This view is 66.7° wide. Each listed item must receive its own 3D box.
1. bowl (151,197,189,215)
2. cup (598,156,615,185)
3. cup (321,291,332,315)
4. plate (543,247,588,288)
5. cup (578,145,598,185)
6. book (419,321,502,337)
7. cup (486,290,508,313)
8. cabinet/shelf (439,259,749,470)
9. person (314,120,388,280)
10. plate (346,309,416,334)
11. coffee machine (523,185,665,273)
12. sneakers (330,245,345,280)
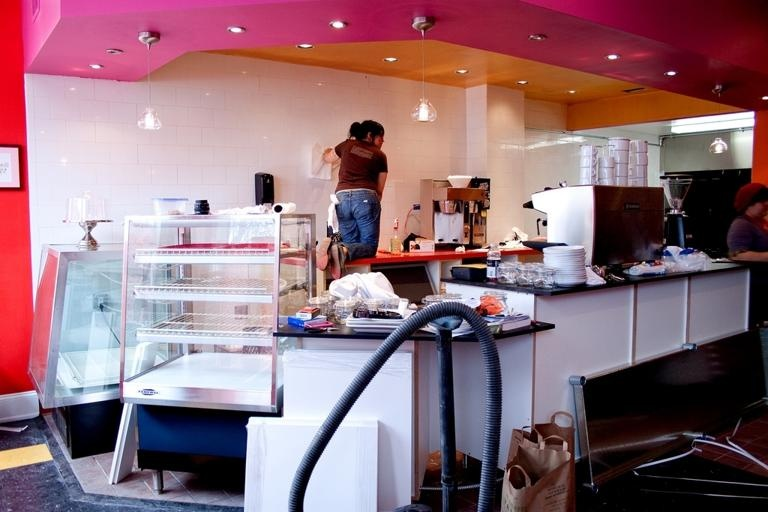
[{"bbox_3d":[-1.789,-0.402,4.800,0.295,0.113,0.244,-1,0,5],"label":"bowl"},{"bbox_3d":[2.053,-0.783,5.350,0.152,0.261,0.112,-1,2,2],"label":"cup"},{"bbox_3d":[-0.465,0.380,4.546,0.083,0.179,0.139,-2,2,-19],"label":"cup"},{"bbox_3d":[1.401,0.086,4.634,0.337,0.261,0.320,-2,4,1],"label":"plate"},{"bbox_3d":[1.852,-0.817,5.285,0.146,0.358,0.237,-1,2,23],"label":"cup"},{"bbox_3d":[0.599,0.519,4.093,0.370,0.078,0.331,-1,0,-43],"label":"book"},{"bbox_3d":[0.843,0.349,4.371,0.155,0.110,0.147,-2,1,0],"label":"cup"},{"bbox_3d":[1.594,0.869,4.518,1.813,0.790,0.500,-3,6,-27],"label":"cabinet/shelf"},{"bbox_3d":[-0.370,-0.662,6.890,0.781,1.828,1.195,-2,2,0],"label":"person"},{"bbox_3d":[-0.056,0.477,4.144,0.323,0.078,0.316,0,4,10],"label":"plate"},{"bbox_3d":[1.925,-0.316,5.337,1.074,0.654,0.760,-3,7,-33],"label":"coffee machine"},{"bbox_3d":[-0.526,0.062,6.438,0.175,0.380,0.177,-1,2,4],"label":"sneakers"}]
